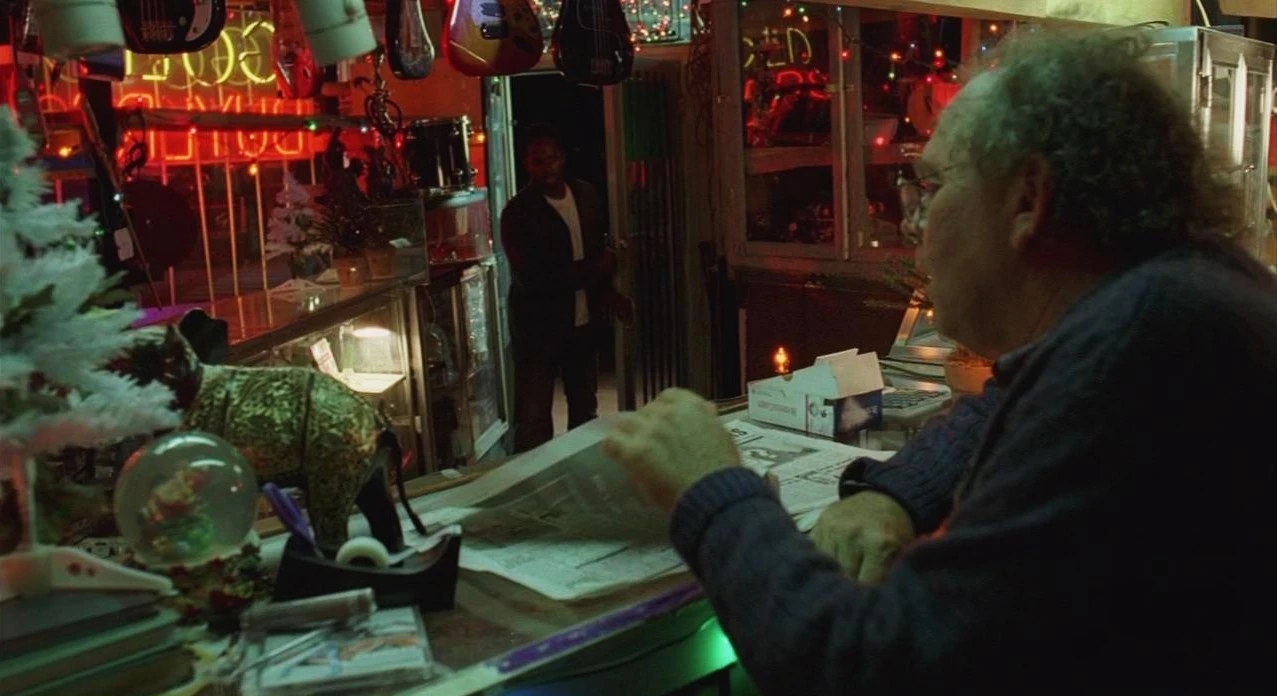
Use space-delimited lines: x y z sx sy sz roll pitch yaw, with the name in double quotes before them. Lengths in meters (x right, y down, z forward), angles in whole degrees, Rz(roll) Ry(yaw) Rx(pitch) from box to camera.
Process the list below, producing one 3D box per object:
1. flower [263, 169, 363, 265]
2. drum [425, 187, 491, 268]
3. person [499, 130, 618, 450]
"flower" -1.768 -0.699 5.133 0.366 0.445 0.491 -6 9 -23
"drum" -1.132 -0.771 6.118 0.530 0.472 0.414 7 15 37
"person" -0.538 -0.336 6.149 0.733 1.973 0.683 -3 5 -26
